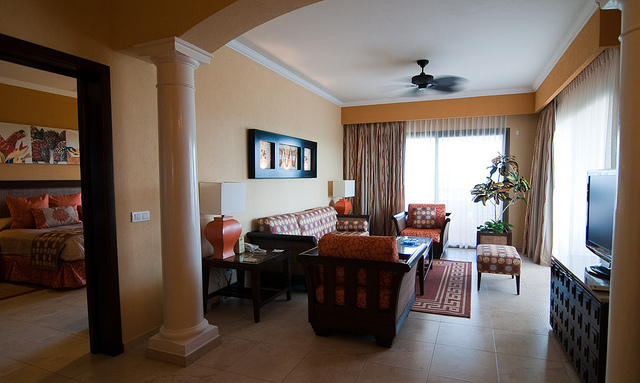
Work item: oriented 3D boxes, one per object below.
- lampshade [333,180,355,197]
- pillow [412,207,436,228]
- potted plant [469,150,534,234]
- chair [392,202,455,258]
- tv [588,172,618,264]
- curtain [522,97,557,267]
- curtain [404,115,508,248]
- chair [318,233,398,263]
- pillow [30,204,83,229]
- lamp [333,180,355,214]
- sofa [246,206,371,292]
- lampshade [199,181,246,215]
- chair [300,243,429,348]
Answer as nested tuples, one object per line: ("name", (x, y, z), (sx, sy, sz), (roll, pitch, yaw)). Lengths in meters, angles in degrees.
("lampshade", (0.551, -0.081, 9.259), (0.369, 0.464, 0.507), (-2, 2, 17))
("pillow", (2.245, 0.559, 8.730), (0.482, 0.412, 0.168), (1, -5, 22))
("potted plant", (3.752, -0.004, 8.401), (1.140, 1.774, 1.400), (0, 3, 26))
("chair", (2.180, 0.772, 8.696), (1.241, 0.915, 0.990), (-1, 10, 15))
("tv", (3.329, 0.285, 4.817), (0.182, 1.035, 0.703), (0, 3, 23))
("curtain", (4.356, -0.217, 8.069), (0.488, 3.209, 0.942), (-1, 3, 13))
("curtain", (3.019, -0.204, 9.233), (2.149, 2.909, 0.233), (0, 3, 21))
("chair", (0.449, 0.851, 5.248), (0.963, 0.454, 0.380), (6, 48, 1))
("pillow", (-4.976, 0.453, 7.752), (0.353, 0.321, 0.848), (21, 15, 31))
("lamp", (0.564, 0.135, 9.222), (0.423, 0.766, 0.434), (1, 0, -44))
("sofa", (0.000, 0.954, 7.672), (1.197, 1.220, 2.889), (0, 2, 26))
("lampshade", (-1.373, 0.146, 5.862), (0.486, 0.519, 0.623), (2, -1, 23))
("chair", (0.456, 1.317, 5.188), (1.299, 0.747, 1.304), (1, 4, 19))
